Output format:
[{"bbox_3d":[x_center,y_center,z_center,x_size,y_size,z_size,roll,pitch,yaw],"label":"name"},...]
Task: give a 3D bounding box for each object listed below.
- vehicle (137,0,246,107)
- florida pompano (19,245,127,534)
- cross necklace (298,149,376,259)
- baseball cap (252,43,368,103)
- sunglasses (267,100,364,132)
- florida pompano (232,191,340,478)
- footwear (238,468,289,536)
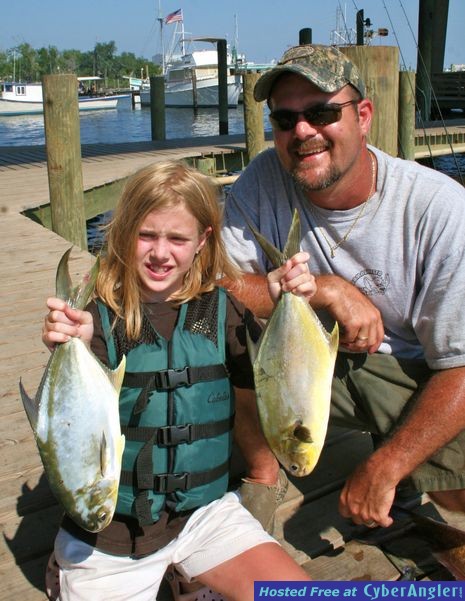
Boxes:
[{"bbox_3d":[-3.306,-20.031,45.949,4.440,8.000,14.566,-14,26,-28],"label":"vehicle"},{"bbox_3d":[-0.405,0.345,1.442,0.245,0.482,0.183,-1,14,9],"label":"florida pompano"},{"bbox_3d":[0.484,-0.372,2.247,0.286,0.434,0.034,6,29,26],"label":"cross necklace"},{"bbox_3d":[0.290,-0.891,2.149,0.430,0.205,0.268,0,13,11],"label":"baseball cap"},{"bbox_3d":[0.315,-0.718,2.164,0.347,0.117,0.125,-1,13,6],"label":"sunglasses"},{"bbox_3d":[0.169,0.081,1.680,0.362,0.793,0.227,-16,-8,11],"label":"florida pompano"},{"bbox_3d":[0.111,0.692,2.029,0.104,0.129,0.282,-38,28,36],"label":"footwear"}]
